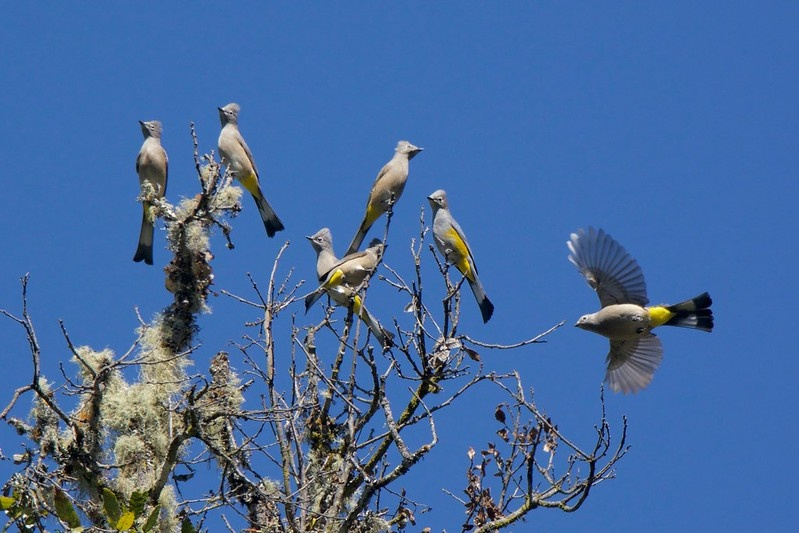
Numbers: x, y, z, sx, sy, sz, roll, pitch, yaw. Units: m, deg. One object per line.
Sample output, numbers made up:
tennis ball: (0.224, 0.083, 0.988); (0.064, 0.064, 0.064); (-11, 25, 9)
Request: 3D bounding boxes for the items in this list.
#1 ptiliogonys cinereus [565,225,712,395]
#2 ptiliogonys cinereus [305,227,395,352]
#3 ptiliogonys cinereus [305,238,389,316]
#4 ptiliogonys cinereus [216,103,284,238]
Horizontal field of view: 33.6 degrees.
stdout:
ptiliogonys cinereus: (2.206, 0.430, 11.834); (1.205, 0.393, 1.770); (5, -56, 35)
ptiliogonys cinereus: (-0.359, 0.109, 11.595); (1.031, 0.311, 0.640); (11, -85, -12)
ptiliogonys cinereus: (-0.351, 0.109, 11.642); (0.970, 0.318, 0.649); (9, -94, -21)
ptiliogonys cinereus: (-1.427, -0.799, 12.467); (0.459, 1.903, 1.090); (-13, -54, 1)
